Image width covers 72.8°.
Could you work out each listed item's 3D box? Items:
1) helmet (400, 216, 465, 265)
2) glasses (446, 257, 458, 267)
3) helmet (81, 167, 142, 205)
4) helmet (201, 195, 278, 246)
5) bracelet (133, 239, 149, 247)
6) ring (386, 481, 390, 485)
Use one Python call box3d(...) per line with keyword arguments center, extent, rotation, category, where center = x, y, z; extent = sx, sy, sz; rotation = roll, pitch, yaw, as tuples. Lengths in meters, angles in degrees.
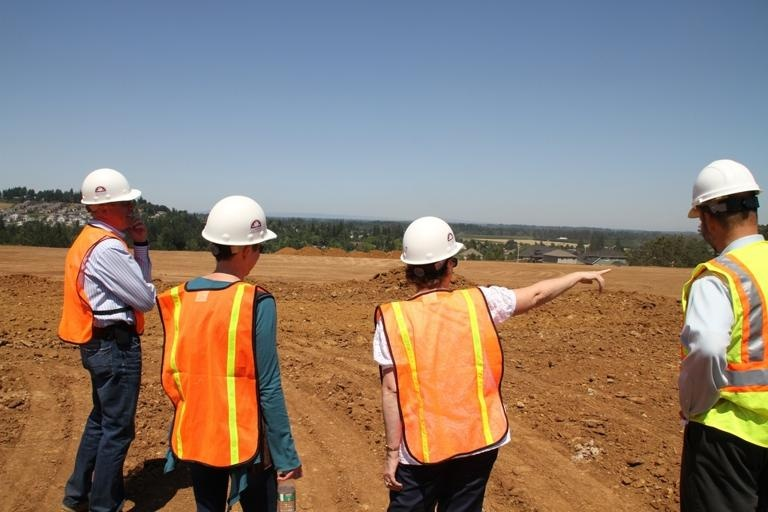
box3d(center=(0.365, -0.120, 4.008), extent=(0.446, 0.253, 0.390), rotation=(-10, 19, -20), category="helmet")
box3d(center=(0.506, 0.044, 4.005), extent=(0.056, 0.083, 0.062), rotation=(9, 6, 28), category="glasses")
box3d(center=(-2.711, -0.712, 5.104), extent=(0.586, 0.339, 0.499), rotation=(-1, 25, 0), category="helmet")
box3d(center=(-1.210, -0.334, 4.240), extent=(0.550, 0.356, 0.653), rotation=(11, 15, 6), category="helmet")
box3d(center=(-2.464, -0.126, 5.246), extent=(0.114, 0.090, 0.127), rotation=(-2, 0, -41), category="bracelet")
box3d(center=(0.017, 1.670, 3.836), extent=(0.041, 0.014, 0.060), rotation=(1, -3, 0), category="ring")
